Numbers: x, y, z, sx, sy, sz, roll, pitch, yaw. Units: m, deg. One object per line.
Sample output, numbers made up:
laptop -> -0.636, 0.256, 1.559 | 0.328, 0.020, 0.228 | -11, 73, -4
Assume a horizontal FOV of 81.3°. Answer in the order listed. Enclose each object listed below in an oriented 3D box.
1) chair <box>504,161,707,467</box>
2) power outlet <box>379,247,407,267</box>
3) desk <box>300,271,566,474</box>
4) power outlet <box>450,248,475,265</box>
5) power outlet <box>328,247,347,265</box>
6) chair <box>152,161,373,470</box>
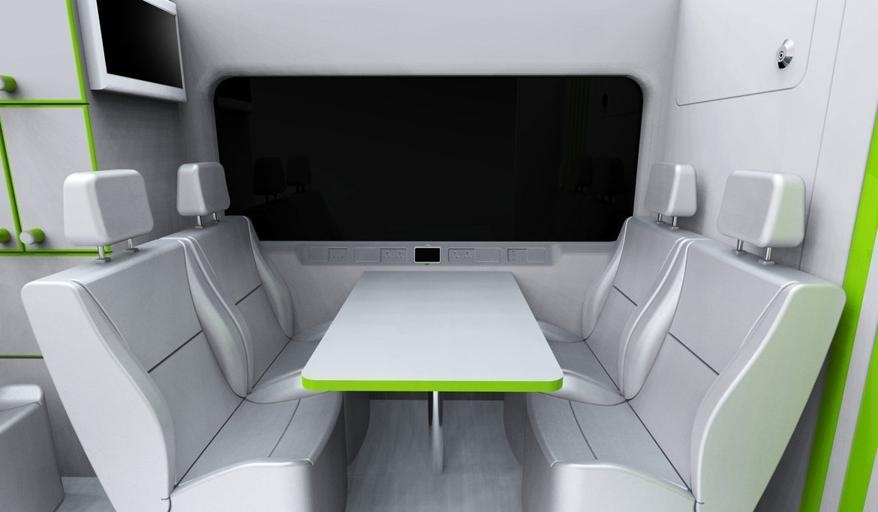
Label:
chair -> 0.608, 0.160, 3.400 | 1.445, 1.947, 1.431 | -1, 13, -2
power outlet -> -0.271, 0.000, 3.126 | 0.162, 0.103, 0.008 | -4, 6, -1
desk -> -0.018, 0.458, 2.839 | 1.151, 0.363, 1.638 | 1, 15, 5
power outlet -> 0.141, 0.000, 3.174 | 0.115, 0.104, 0.027 | 3, -2, 1
power outlet -> -0.620, -0.005, 3.176 | 0.108, 0.098, 0.027 | 3, -3, 1
chair -> -0.747, 0.173, 3.695 | 1.525, 2.470, 1.572 | 2, 14, 0
